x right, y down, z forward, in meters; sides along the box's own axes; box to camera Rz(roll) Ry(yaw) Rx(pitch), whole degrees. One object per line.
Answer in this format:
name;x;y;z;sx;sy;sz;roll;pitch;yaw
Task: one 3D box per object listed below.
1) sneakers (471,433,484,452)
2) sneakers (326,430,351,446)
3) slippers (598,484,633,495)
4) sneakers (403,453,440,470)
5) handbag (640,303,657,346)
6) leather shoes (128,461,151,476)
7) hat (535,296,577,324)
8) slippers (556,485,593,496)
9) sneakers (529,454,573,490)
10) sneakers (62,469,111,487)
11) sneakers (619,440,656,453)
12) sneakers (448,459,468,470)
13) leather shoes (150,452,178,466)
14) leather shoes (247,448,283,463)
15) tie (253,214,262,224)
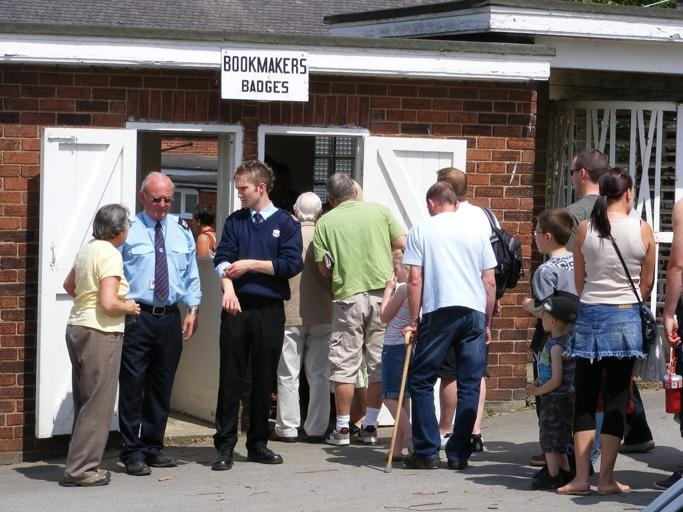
sneakers;1.213;1.670;11.276;0.093;0.107;0.255;0;2;3
sneakers;-0.024;1.673;11.646;0.102;0.124;0.285;0;1;-20
slippers;2.181;1.867;10.091;0.249;0.099;0.100;-4;3;-12
sneakers;0.687;1.773;10.846;0.122;0.125;0.306;-6;7;-44
handbag;2.451;0.540;10.077;0.134;0.392;0.209;1;10;19
leather shoes;-1.741;1.834;10.869;0.217;0.089;0.093;-2;-1;22
hat;1.760;0.435;10.324;0.195;0.149;0.265;-10;24;-36
slippers;1.855;1.895;10.135;0.225;0.087;0.098;4;-3;7
sneakers;1.708;1.793;10.330;0.182;0.141;0.330;-4;2;-43
sneakers;-2.155;1.850;10.654;0.360;0.159;0.153;-1;5;-10
sneakers;2.585;1.683;11.129;0.314;0.119;0.112;-8;-4;-4
sneakers;0.986;1.777;10.746;0.164;0.072;0.070;3;4;-5
leather shoes;-1.557;1.785;11.092;0.208;0.077;0.108;1;1;-3
leather shoes;-0.666;1.739;11.023;0.348;0.124;0.118;-3;-4;30
tie;-0.725;-0.330;10.979;0.066;0.088;0.024;0;4;-3
